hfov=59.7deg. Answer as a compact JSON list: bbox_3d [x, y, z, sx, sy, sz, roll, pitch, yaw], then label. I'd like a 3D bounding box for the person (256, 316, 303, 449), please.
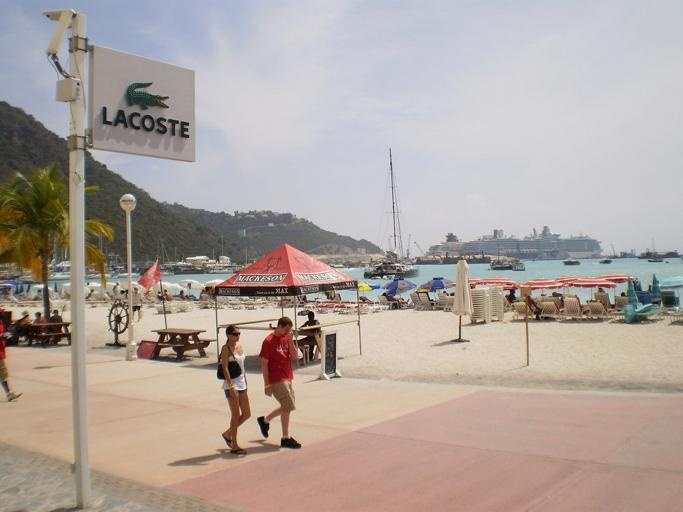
[{"bbox_3d":[-0.946,1.929,9.168,0.678,1.924,0.532,-2,-5,4],"label":"person"}]

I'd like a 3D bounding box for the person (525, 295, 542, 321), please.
[{"bbox_3d":[8.304,2.256,25.419,0.508,0.979,1.868,-4,-5,18],"label":"person"}]

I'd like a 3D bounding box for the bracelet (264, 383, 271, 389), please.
[{"bbox_3d":[-1.109,1.998,9.113,0.074,0.060,0.079,-2,-5,-5],"label":"bracelet"}]

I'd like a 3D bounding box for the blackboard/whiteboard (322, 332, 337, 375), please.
[{"bbox_3d":[-0.255,2.301,13.760,0.215,1.024,0.593,-4,-5,24],"label":"blackboard/whiteboard"}]

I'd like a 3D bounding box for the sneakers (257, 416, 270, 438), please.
[{"bbox_3d":[-1.216,2.639,9.217,0.181,0.401,0.148,-8,2,5],"label":"sneakers"}]

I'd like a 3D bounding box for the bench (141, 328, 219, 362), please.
[{"bbox_3d":[-4.713,2.587,17.622,1.349,0.637,1.344,-3,-5,28],"label":"bench"}]

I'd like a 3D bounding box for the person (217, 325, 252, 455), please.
[{"bbox_3d":[-1.625,1.993,9.026,0.435,1.854,0.664,-1,-5,-9],"label":"person"}]

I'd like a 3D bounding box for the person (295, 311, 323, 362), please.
[{"bbox_3d":[-0.896,2.203,16.243,1.063,1.326,0.931,7,-12,-22],"label":"person"}]

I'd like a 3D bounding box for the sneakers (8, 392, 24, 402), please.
[{"bbox_3d":[-6.408,2.761,11.675,0.314,0.208,0.112,-7,8,-23],"label":"sneakers"}]

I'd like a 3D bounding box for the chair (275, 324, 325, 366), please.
[{"bbox_3d":[-0.925,2.385,15.965,1.058,1.266,1.383,-1,0,29],"label":"chair"}]

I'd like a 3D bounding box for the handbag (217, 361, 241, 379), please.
[{"bbox_3d":[-1.653,1.705,8.865,0.339,0.323,0.146,-2,6,6],"label":"handbag"}]

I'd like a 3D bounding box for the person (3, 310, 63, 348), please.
[{"bbox_3d":[-10.533,2.584,20.671,2.234,0.911,1.296,-1,0,33],"label":"person"}]

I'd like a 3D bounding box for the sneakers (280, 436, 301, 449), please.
[{"bbox_3d":[-0.760,2.804,8.920,0.277,0.105,0.136,-1,1,24],"label":"sneakers"}]

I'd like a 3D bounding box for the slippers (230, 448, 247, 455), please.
[{"bbox_3d":[-1.489,2.861,8.704,0.201,0.048,0.096,1,1,23],"label":"slippers"}]
